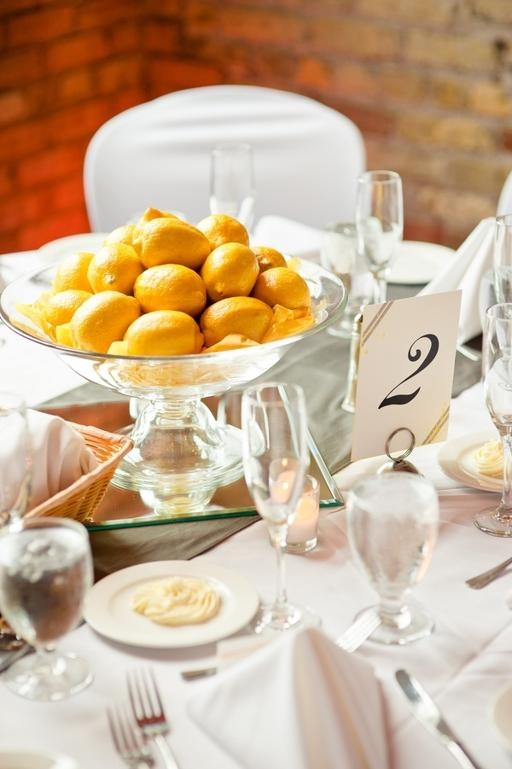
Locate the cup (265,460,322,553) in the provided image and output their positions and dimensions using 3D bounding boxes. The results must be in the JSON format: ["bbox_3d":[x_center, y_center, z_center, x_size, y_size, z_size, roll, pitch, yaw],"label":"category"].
[{"bbox_3d":[0.030,0.111,0.606,0.040,0.052,0.036,-2,-2,-21],"label":"cup"}]

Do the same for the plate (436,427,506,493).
[{"bbox_3d":[0.211,0.073,0.707,0.063,0.006,0.056,-9,29,-8],"label":"plate"}]

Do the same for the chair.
[{"bbox_3d":[-0.075,-0.523,1.989,0.663,0.703,0.565,-1,5,-3],"label":"chair"}]

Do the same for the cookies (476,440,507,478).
[{"bbox_3d":[0.226,0.072,0.693,0.028,0.012,0.030,-3,53,18],"label":"cookies"}]
